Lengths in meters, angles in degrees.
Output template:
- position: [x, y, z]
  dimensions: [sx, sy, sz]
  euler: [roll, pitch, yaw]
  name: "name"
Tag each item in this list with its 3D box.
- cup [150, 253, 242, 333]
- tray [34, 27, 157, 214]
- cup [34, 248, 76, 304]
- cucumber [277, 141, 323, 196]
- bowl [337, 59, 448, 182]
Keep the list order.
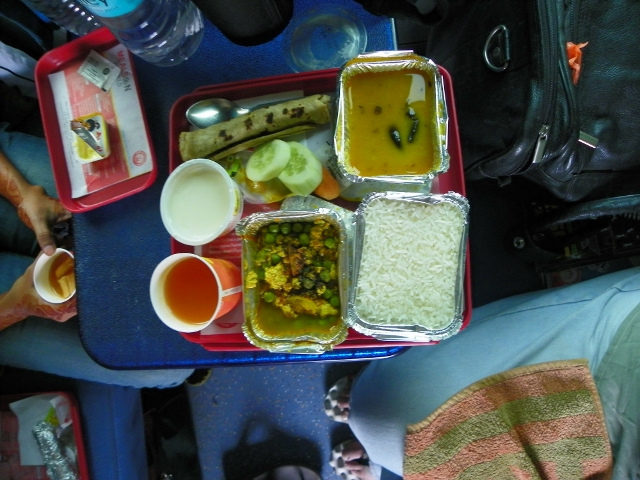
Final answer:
- position: [-0.507, 0.221, 2.064]
  dimensions: [0.352, 0.209, 0.315]
  euler: [3, 86, 0]
  name: "cup"
- position: [-0.964, -0.481, 2.286]
  dimensions: [0.574, 0.113, 0.791]
  euler: [-20, 91, 9]
  name: "tray"
- position: [-1.252, 0.170, 2.365]
  dimensions: [0.186, 0.200, 0.278]
  euler: [0, 99, -16]
  name: "cup"
- position: [-0.090, -0.296, 2.062]
  dimensions: [0.218, 0.099, 0.171]
  euler: [42, 86, 2]
  name: "cucumber"
- position: [0.284, -0.480, 2.077]
  dimensions: [0.464, 0.169, 0.512]
  euler: [-9, 86, -1]
  name: "bowl"
